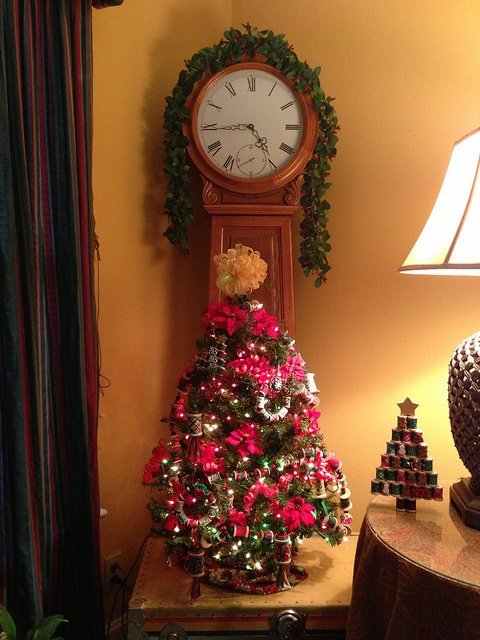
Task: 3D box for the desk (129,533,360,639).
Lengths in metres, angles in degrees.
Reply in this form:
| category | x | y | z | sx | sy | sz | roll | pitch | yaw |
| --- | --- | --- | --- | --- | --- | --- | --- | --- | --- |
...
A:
| category | x | y | z | sx | sy | sz | roll | pitch | yaw |
| --- | --- | --- | --- | --- | --- | --- | --- | --- | --- |
| desk | 0.032 | 0.780 | 1.938 | 0.659 | 0.196 | 0.404 | 2 | -5 | 1 |
